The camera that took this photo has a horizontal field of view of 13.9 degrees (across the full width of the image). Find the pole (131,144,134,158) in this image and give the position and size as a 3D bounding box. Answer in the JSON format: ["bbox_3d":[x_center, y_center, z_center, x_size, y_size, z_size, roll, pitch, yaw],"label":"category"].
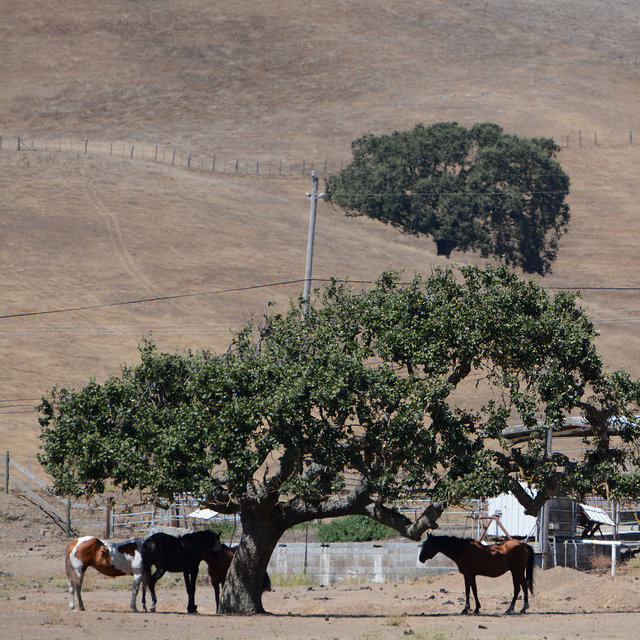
[{"bbox_3d":[-22.784,-20.434,312.541,0.267,1.756,0.380,8,-17,-1],"label":"pole"}]
